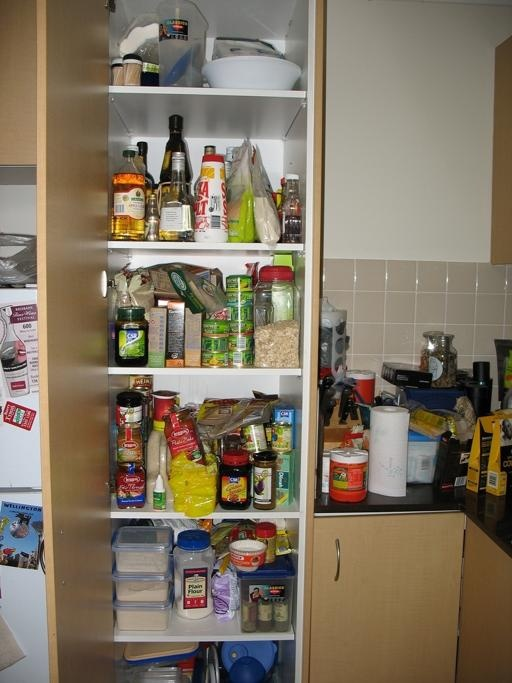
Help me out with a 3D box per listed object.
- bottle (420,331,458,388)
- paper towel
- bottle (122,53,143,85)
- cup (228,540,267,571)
[{"bbox_3d":[0.601,0.064,1.947,0.117,0.178,0.132,2,4,13],"label":"bottle"},{"bbox_3d":[0.354,0.295,1.597,0.102,0.230,0.097,2,4,10],"label":"paper towel"},{"bbox_3d":[-0.310,-0.675,1.482,0.051,0.083,0.041,0,4,-11],"label":"bottle"},{"bbox_3d":[-0.027,0.568,1.598,0.080,0.051,0.081,5,-10,1],"label":"cup"}]
